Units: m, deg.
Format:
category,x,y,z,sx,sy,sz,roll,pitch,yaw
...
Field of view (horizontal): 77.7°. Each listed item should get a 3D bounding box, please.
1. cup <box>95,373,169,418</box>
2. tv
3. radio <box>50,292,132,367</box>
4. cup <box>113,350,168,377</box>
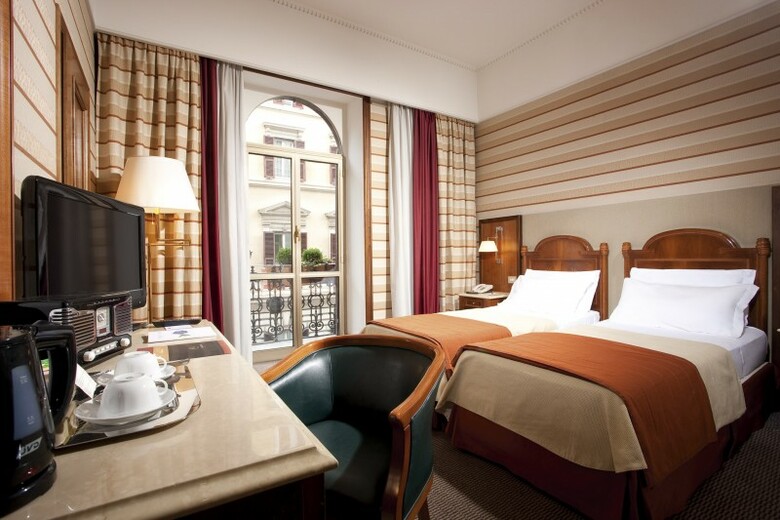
category,x,y,z,sx,sy,sz,roll,pitch,yaw
cup,-1.184,0.612,2.203,0.293,0.168,0.295,-4,-4,0
tv,-1.655,-0.035,2.751,0.777,0.582,0.079,3,4,19
radio,-1.647,0.380,2.641,0.244,0.358,0.442,0,5,7
cup,-1.223,0.501,2.370,0.215,0.142,0.157,7,-10,-27
